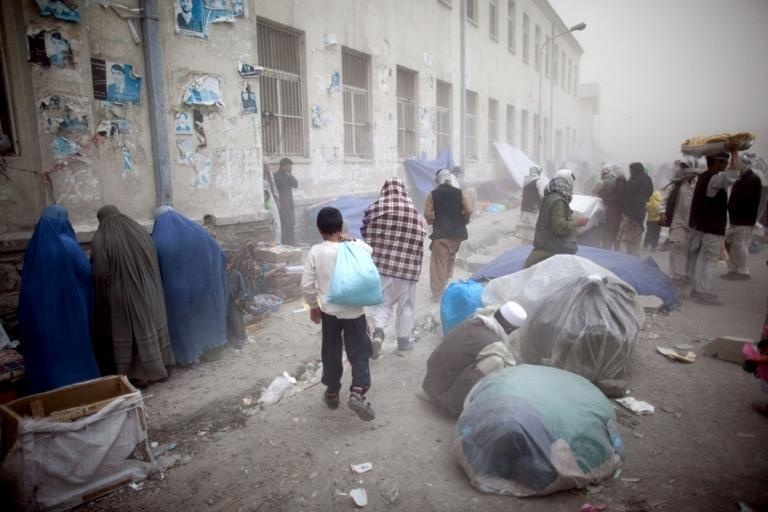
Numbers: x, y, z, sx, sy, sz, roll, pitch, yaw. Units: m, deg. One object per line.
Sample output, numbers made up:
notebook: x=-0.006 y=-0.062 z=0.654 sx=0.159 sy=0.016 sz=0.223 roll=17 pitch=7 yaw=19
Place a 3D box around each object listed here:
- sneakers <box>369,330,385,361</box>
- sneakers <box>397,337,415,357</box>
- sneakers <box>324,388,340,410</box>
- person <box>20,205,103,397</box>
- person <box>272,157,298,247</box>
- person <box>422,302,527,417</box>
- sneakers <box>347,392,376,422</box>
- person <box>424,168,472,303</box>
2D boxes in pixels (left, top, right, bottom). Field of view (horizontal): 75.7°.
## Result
sneakers: x=-0.081 y=1.094 z=6.171 sx=0.121 sy=0.399 sz=0.164 roll=4 pitch=-17 yaw=9
sneakers: x=0.318 y=1.144 z=6.339 sx=0.113 sy=0.216 sz=0.299 roll=5 pitch=18 yaw=30
sneakers: x=-0.552 y=1.513 z=5.202 sx=0.100 sy=0.118 sz=0.242 roll=1 pitch=8 yaw=-5
person: x=-3.457 y=0.445 z=5.197 sx=0.741 sy=1.863 sz=0.600 roll=-9 pitch=15 yaw=-32
person: x=-1.938 y=-1.062 z=9.712 sx=0.353 sy=1.683 sz=0.589 roll=11 pitch=18 yaw=42
person: x=0.915 y=1.093 z=5.119 sx=1.035 sy=1.044 sz=0.740 roll=-3 pitch=13 yaw=-5
sneakers: x=-0.240 y=1.508 z=5.022 sx=0.159 sy=0.420 sz=0.199 roll=-16 pitch=45 yaw=20
person: x=0.968 y=-0.311 z=7.758 sx=0.568 sy=2.041 sz=0.658 roll=11 pitch=18 yaw=43
